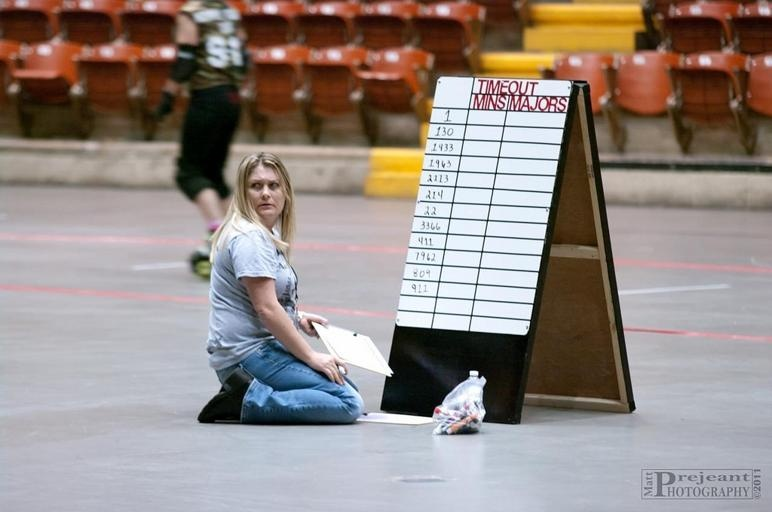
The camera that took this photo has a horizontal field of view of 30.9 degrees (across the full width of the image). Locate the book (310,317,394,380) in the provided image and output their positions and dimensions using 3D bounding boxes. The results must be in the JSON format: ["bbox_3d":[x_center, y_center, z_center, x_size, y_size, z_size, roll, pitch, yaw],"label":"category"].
[{"bbox_3d":[-0.198,0.536,7.852,0.594,0.049,0.547,11,22,-40],"label":"book"}]

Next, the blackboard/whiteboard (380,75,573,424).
[{"bbox_3d":[0.492,-0.044,7.526,0.759,1.776,0.728,7,17,25],"label":"blackboard/whiteboard"}]

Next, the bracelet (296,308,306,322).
[{"bbox_3d":[-0.451,0.338,7.621,0.062,0.066,0.060,-5,40,-5],"label":"bracelet"}]
